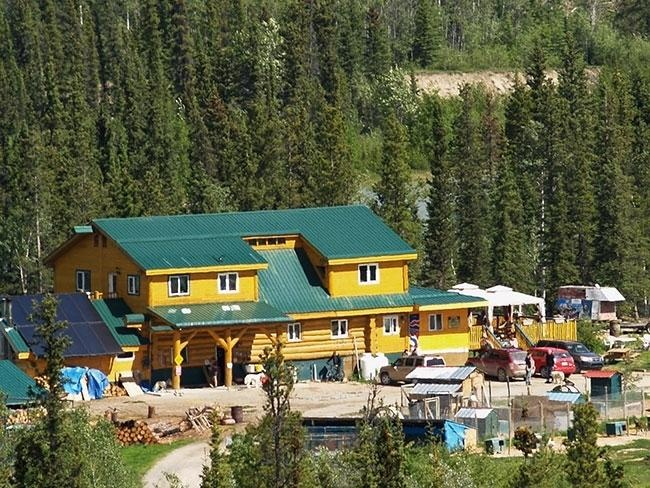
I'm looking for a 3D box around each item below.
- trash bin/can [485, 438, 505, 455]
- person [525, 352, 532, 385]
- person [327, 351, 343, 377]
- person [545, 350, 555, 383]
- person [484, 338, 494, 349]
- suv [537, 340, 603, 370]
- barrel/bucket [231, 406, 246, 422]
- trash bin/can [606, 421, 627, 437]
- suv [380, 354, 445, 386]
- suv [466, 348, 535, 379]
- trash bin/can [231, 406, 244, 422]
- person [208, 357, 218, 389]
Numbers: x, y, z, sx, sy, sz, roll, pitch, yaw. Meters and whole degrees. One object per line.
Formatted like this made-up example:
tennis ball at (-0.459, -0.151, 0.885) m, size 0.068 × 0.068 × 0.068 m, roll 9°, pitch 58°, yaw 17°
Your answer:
trash bin/can at (8.970, 10.872, 78.668) m, size 0.742 × 0.728 × 1.683 m, roll 11°, pitch 12°, yaw 35°
person at (12.979, 8.119, 94.190) m, size 0.467 × 1.802 × 2.068 m, roll 4°, pitch 10°, yaw 8°
person at (0.661, 8.030, 96.128) m, size 1.119 × 1.677 × 0.966 m, roll 7°, pitch 10°, yaw 17°
person at (14.503, 8.022, 95.050) m, size 0.538 × 1.692 × 1.922 m, roll 5°, pitch 10°, yaw 10°
person at (11.253, 6.869, 101.218) m, size 0.500 × 0.517 × 1.008 m, roll 5°, pitch 10°, yaw 5°
suv at (16.695, 7.396, 98.545) m, size 3.489 × 1.755 × 1.740 m, roll -1°, pitch 1°, yaw 30°
barrel/bucket at (-5.000, 9.847, 84.903) m, size 0.627 × 0.825 × 0.714 m, roll 1°, pitch 4°, yaw 9°
trash bin/can at (16.217, 10.332, 81.968) m, size 1.408 × 0.717 × 0.822 m, roll -5°, pitch 13°, yaw -41°
suv at (5.494, 7.996, 94.212) m, size 2.932 × 1.748 × 2.139 m, roll 3°, pitch 3°, yaw 30°
suv at (11.301, 8.059, 96.204) m, size 1.999 × 1.909 × 4.389 m, roll -1°, pitch 7°, yaw -41°
trash bin/can at (-5.079, 9.870, 84.633) m, size 0.626 × 0.838 × 0.709 m, roll 2°, pitch 3°, yaw 18°
person at (-7.043, 8.233, 93.625) m, size 0.566 × 1.512 × 1.155 m, roll 2°, pitch 10°, yaw -6°
